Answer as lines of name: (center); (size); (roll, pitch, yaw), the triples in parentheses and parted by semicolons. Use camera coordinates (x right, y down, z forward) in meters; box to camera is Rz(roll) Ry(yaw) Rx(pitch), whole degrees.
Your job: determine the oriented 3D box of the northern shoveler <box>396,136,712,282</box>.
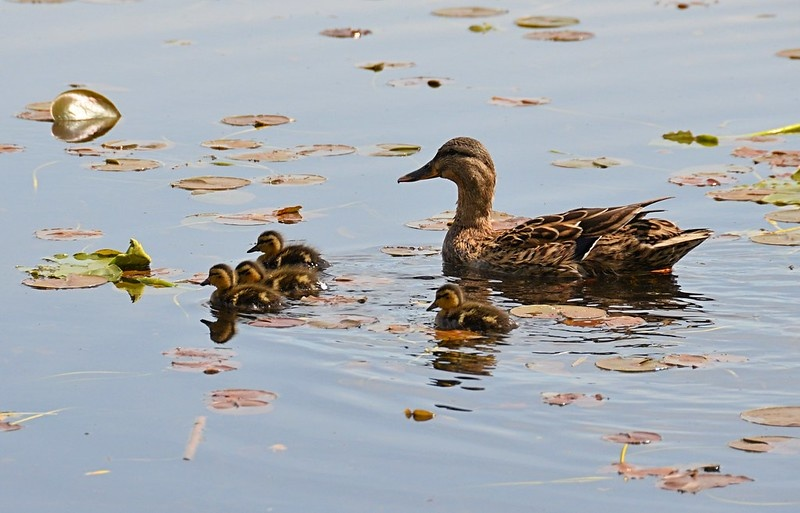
northern shoveler: (2.013, -0.731, 13.886); (7.167, 1.786, 4.990); (0, 14, -5)
